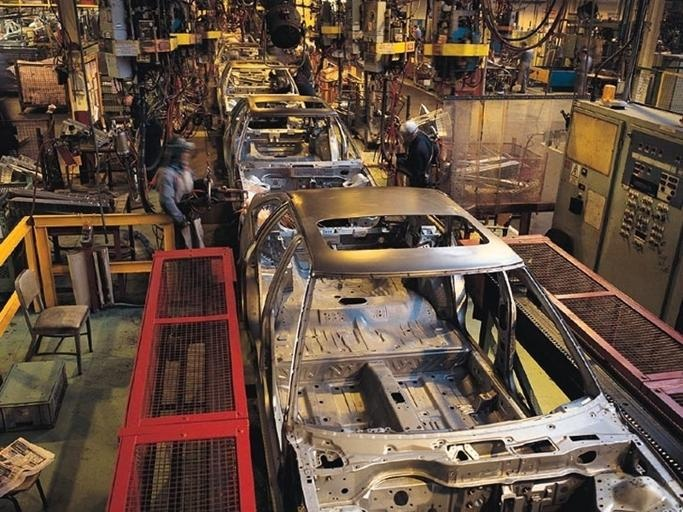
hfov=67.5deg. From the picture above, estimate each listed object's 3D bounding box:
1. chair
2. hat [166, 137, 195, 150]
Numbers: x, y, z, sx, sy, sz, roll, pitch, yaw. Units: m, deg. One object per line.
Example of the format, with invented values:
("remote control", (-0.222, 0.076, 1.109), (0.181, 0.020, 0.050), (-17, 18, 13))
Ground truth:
("chair", (-3.036, 0.666, 5.422), (0.717, 0.988, 0.682), (6, 15, 0))
("hat", (-2.021, -1.411, 6.381), (0.286, 0.175, 0.214), (-11, 23, -18))
